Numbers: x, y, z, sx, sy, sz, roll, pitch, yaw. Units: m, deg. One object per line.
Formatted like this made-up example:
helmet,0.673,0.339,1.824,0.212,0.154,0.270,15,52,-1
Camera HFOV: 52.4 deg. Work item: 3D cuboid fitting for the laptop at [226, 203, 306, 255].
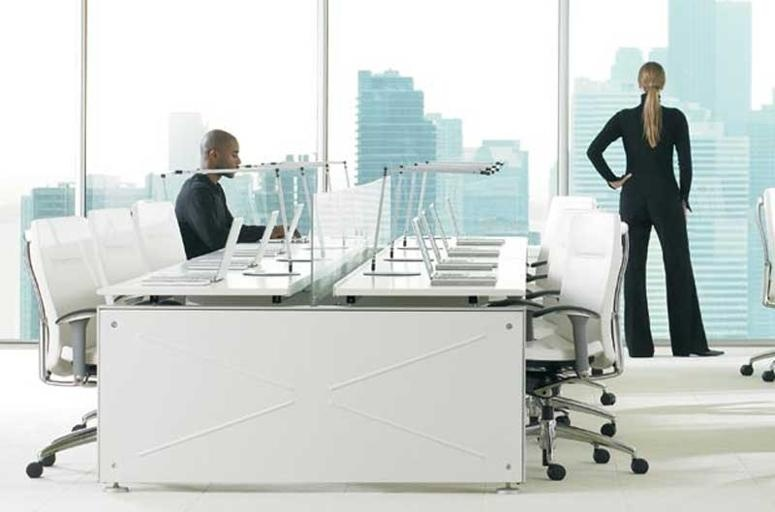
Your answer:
laptop,-0.965,-0.184,6.275,0.537,0.382,0.503,1,3,5

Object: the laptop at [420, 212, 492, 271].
laptop,0.501,-0.098,5.686,0.469,0.326,0.456,0,3,3
